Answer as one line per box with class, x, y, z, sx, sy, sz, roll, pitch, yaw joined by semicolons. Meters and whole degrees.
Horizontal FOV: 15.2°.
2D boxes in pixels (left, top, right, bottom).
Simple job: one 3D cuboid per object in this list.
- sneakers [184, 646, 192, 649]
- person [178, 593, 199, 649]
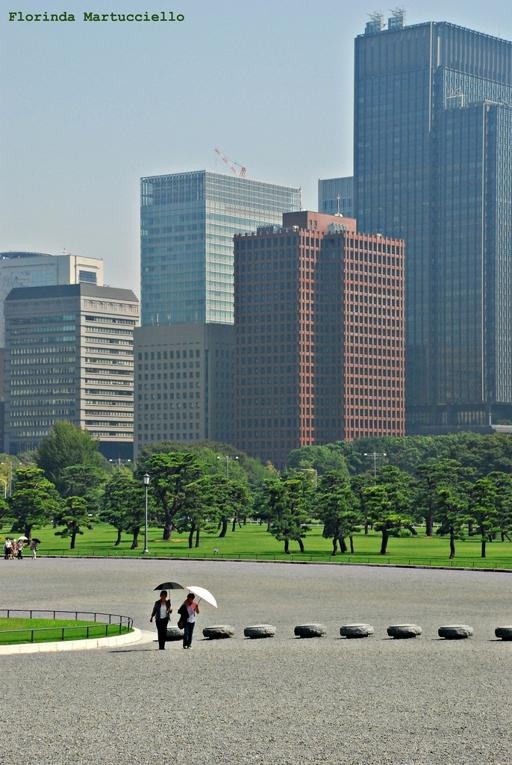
sneakers;-2.623;9.880;71.284;0.293;0.155;0.111;-5;0;-5
person;-2.521;8.641;69.233;0.956;1.974;1.043;-4;-14;26
